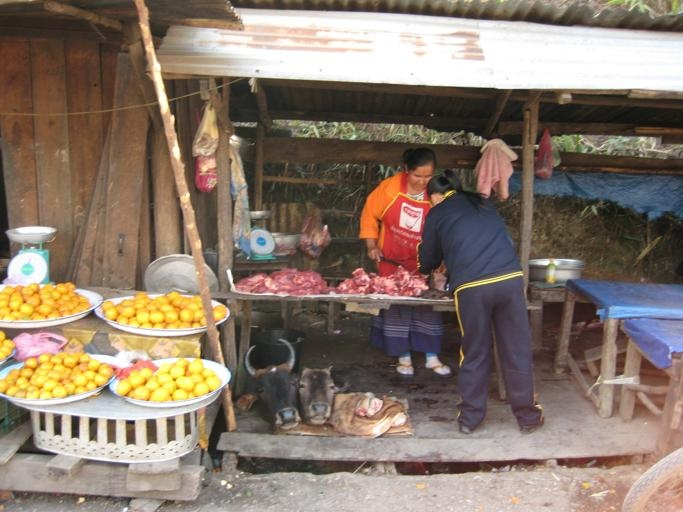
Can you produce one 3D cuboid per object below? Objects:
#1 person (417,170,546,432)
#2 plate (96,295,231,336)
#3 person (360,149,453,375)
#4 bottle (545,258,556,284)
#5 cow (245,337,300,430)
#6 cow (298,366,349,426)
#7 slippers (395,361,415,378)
[{"bbox_3d":[1.336,0.431,5.988,0.764,2.479,1.190,-12,18,-39],"label":"person"},{"bbox_3d":[-1.734,0.528,5.649,1.032,0.315,0.507,2,12,9],"label":"plate"},{"bbox_3d":[0.725,0.099,7.226,1.168,2.541,0.989,0,3,-7],"label":"person"},{"bbox_3d":[2.571,0.185,7.486,0.116,0.271,0.210,4,13,17],"label":"bottle"},{"bbox_3d":[-0.695,1.230,6.110,0.536,0.315,0.930,-9,43,-7],"label":"cow"},{"bbox_3d":[-0.226,1.380,6.144,0.474,0.385,0.584,2,12,10],"label":"cow"},{"bbox_3d":[0.742,1.316,7.144,0.216,0.089,0.344,0,1,0],"label":"slippers"}]
